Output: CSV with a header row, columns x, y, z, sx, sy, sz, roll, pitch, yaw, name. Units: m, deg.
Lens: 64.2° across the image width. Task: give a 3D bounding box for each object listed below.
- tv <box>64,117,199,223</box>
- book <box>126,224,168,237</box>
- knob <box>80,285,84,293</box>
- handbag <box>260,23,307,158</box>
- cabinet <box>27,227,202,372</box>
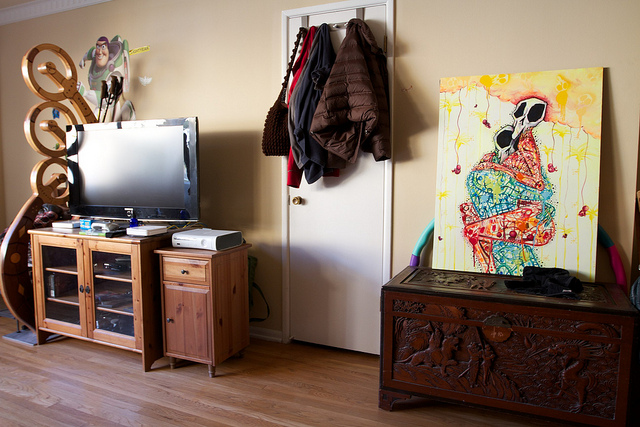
x,y,z,sx,sy,sz,roll,pitch,yaw,name
-1.558,-0.363,4.271,1.409,0.810,0.100,2,3,24,tv
-1.361,0.122,4.003,0.264,0.062,0.234,5,11,34,book
-1.879,0.591,4.043,0.019,0.054,0.022,-2,-4,15,knob
-0.301,-0.977,4.060,0.323,1.053,0.299,3,10,27,handbag
-1.721,0.586,4.283,1.174,0.844,0.634,2,5,19,cabinet
